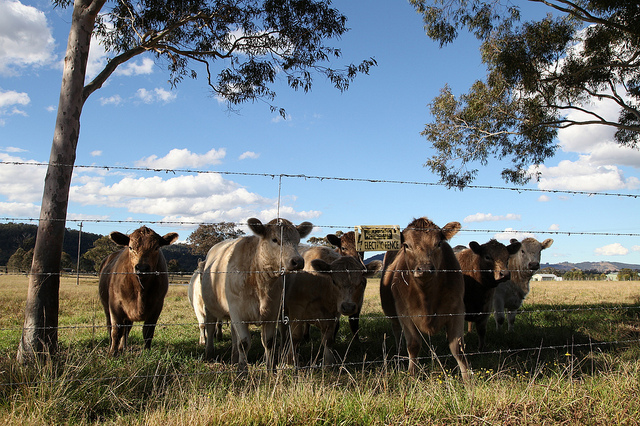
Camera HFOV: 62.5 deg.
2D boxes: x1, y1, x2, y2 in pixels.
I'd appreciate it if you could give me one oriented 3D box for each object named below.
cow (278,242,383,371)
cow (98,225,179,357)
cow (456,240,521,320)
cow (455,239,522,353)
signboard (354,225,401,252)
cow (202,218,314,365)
[{"bbox_3d":[-0.262,2.266,13.035,1.322,2.782,4.768,7,-5,-24],"label":"cow"},{"bbox_3d":[-4.324,2.010,12.480,1.500,3.098,5.163,4,-26,-23],"label":"cow"},{"bbox_3d":[4.207,1.906,14.333,1.052,2.391,3.629,-1,-3,-8],"label":"cow"},{"bbox_3d":[4.097,2.391,14.568,1.109,3.076,4.669,4,-9,-6],"label":"cow"},{"bbox_3d":[1.148,0.495,10.227,0.917,0.505,0.264,4,-2,-23],"label":"signboard"},{"bbox_3d":[-1.464,1.810,11.605,1.761,3.348,3.358,3,-2,-24],"label":"cow"}]
